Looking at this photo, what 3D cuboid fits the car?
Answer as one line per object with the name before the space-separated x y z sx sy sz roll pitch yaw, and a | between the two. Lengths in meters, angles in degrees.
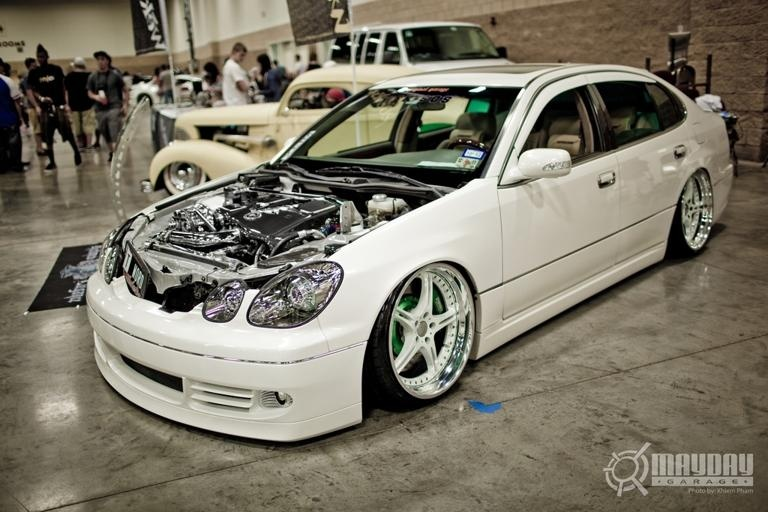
car | 0.599 -0.276 4.073 4.993 1.635 2.391 -19 26 -28
